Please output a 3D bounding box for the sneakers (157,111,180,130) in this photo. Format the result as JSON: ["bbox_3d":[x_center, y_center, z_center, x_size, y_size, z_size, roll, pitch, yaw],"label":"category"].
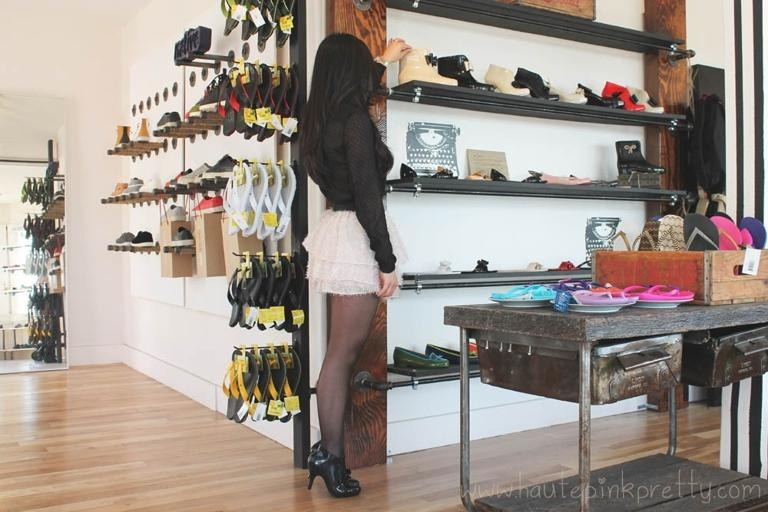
[{"bbox_3d":[-1.770,-1.119,4.851,0.103,0.120,0.308,-2,8,-27],"label":"sneakers"}]

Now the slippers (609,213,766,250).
[{"bbox_3d":[1.539,-0.110,3.047,0.340,0.132,0.444,0,-1,-32],"label":"slippers"}]

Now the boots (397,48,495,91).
[{"bbox_3d":[0.456,-1.178,3.884,0.748,0.266,0.234,-3,5,-23],"label":"boots"}]

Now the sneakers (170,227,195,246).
[{"bbox_3d":[-1.563,-0.147,4.600,0.102,0.099,0.216,-2,5,-24],"label":"sneakers"}]

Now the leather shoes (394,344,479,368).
[{"bbox_3d":[0.265,0.645,3.756,0.336,0.099,0.237,-4,-7,15],"label":"leather shoes"}]

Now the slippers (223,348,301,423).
[{"bbox_3d":[-0.682,0.737,3.376,0.429,0.456,0.109,0,4,6],"label":"slippers"}]

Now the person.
[{"bbox_3d":[-0.186,0.039,3.200,0.492,2.486,0.292,-1,3,-9],"label":"person"}]

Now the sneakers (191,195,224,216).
[{"bbox_3d":[-1.336,-0.370,4.354,0.166,0.163,0.446,-2,2,-37],"label":"sneakers"}]

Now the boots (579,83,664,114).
[{"bbox_3d":[1.780,-1.171,4.416,0.454,0.135,0.349,12,8,8],"label":"boots"}]

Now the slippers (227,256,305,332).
[{"bbox_3d":[-0.670,0.210,3.408,0.436,0.458,0.195,-2,3,-10],"label":"slippers"}]

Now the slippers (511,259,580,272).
[{"bbox_3d":[1.205,0.077,4.201,0.437,0.069,0.155,1,-3,-17],"label":"slippers"}]

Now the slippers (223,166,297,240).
[{"bbox_3d":[-0.718,-0.312,3.455,0.407,0.441,0.137,2,7,-6],"label":"slippers"}]

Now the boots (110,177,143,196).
[{"bbox_3d":[-2.458,-0.639,5.660,0.199,0.224,0.581,2,0,-34],"label":"boots"}]

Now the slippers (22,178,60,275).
[{"bbox_3d":[-3.537,-0.299,6.128,0.337,1.008,0.153,-3,4,-36],"label":"slippers"}]

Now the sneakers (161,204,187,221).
[{"bbox_3d":[-1.758,-0.358,4.991,0.109,0.104,0.265,-2,3,-28],"label":"sneakers"}]

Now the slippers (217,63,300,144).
[{"bbox_3d":[-0.782,-0.945,3.672,0.278,0.456,0.629,-3,4,-33],"label":"slippers"}]
